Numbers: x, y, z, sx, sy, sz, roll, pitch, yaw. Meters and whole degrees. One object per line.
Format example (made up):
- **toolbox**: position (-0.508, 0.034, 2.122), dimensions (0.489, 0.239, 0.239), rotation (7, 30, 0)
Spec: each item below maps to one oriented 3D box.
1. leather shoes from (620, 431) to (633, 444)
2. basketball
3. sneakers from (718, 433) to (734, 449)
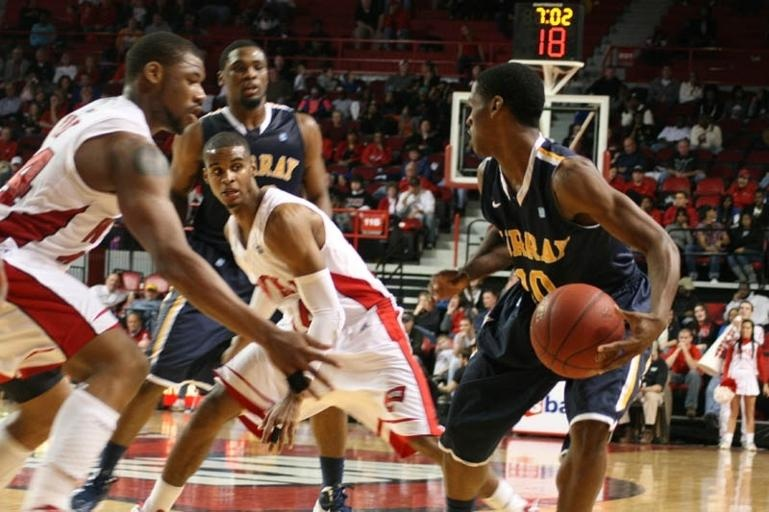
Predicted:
- **leather shoes**: position (2.896, 2.177, 10.064), dimensions (0.150, 0.100, 0.135), rotation (6, 7, 6)
- **basketball**: position (1.067, 0.447, 4.518), dimensions (0.483, 0.487, 0.474), rotation (-16, -3, -15)
- **sneakers**: position (3.979, 2.158, 9.804), dimensions (0.122, 0.205, 0.213), rotation (7, 8, 18)
